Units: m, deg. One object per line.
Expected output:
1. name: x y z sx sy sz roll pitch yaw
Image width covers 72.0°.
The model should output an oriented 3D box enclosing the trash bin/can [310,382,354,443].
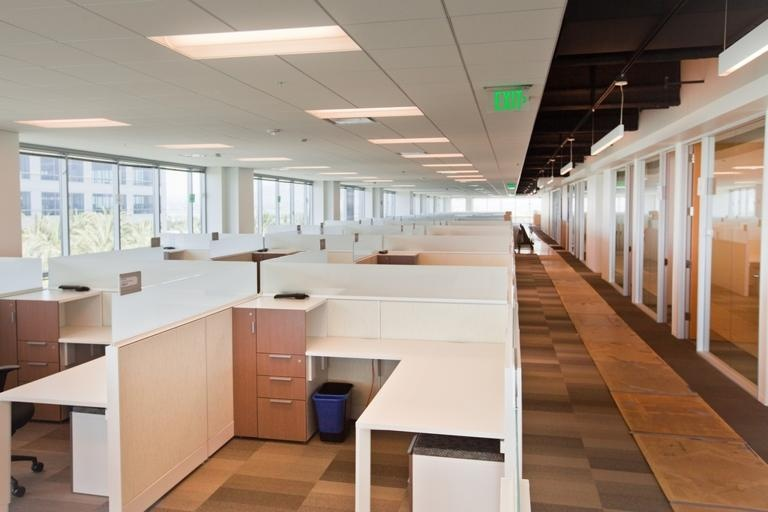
1. trash bin/can: -0.470 1.555 5.439 0.476 0.539 0.702 0 1 8
